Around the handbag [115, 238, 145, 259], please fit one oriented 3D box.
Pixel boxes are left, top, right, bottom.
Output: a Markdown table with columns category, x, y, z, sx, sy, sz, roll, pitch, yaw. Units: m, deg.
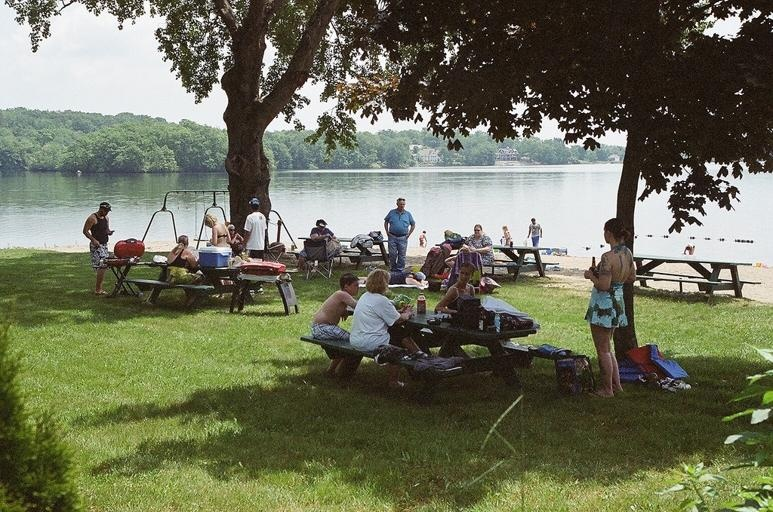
| category | x | y | z | sx | sy | sz | roll | pitch | yaw |
| --- | --- | --- | --- | --- | --- | --- | --- | --- | --- |
| handbag | -5.909 | -0.150 | 17.781 | 0.502 | 0.445 | 0.508 | 1 | -3 | 21 |

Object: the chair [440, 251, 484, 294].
| category | x | y | z | sx | sy | sz | roll | pitch | yaw |
| --- | --- | --- | --- | --- | --- | --- | --- | --- | --- |
| chair | 1.670 | 0.392 | 17.628 | 0.978 | 1.223 | 0.978 | 6 | 2 | 8 |

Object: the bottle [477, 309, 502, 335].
| category | x | y | z | sx | sy | sz | roll | pitch | yaw |
| --- | --- | --- | --- | --- | --- | --- | --- | --- | --- |
| bottle | 1.508 | 0.965 | 11.489 | 0.317 | 0.349 | 0.338 | -2 | 4 | -17 |

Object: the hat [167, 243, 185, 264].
| category | x | y | z | sx | sy | sz | roll | pitch | yaw |
| --- | --- | --- | --- | --- | --- | --- | --- | --- | --- |
| hat | -4.642 | -0.046 | 17.015 | 0.164 | 0.465 | 0.330 | 34 | -10 | -33 |

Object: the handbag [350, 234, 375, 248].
| category | x | y | z | sx | sy | sz | roll | pitch | yaw |
| --- | --- | --- | --- | --- | --- | --- | --- | --- | --- |
| handbag | -0.672 | -0.418 | 22.487 | 0.442 | 0.223 | 0.475 | 4 | 4 | 35 |

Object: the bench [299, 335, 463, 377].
| category | x | y | z | sx | sy | sz | roll | pitch | yaw |
| --- | --- | --- | --- | --- | --- | --- | --- | --- | --- |
| bench | 0.033 | 1.560 | 11.580 | 2.318 | 0.475 | 0.636 | 4 | 4 | 36 |

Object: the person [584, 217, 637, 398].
| category | x | y | z | sx | sy | sz | roll | pitch | yaw |
| --- | --- | --- | --- | --- | --- | --- | --- | --- | --- |
| person | 3.163 | 0.749 | 11.104 | 0.752 | 2.567 | 0.478 | -2 | 5 | -45 |

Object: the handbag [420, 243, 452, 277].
| category | x | y | z | sx | sy | sz | roll | pitch | yaw |
| --- | --- | --- | --- | --- | --- | --- | --- | --- | --- |
| handbag | 1.279 | 0.103 | 20.097 | 0.666 | 0.847 | 0.309 | 25 | -6 | 47 |

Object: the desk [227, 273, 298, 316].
| category | x | y | z | sx | sy | sz | roll | pitch | yaw |
| --- | --- | --- | --- | --- | --- | --- | --- | --- | --- |
| desk | -2.650 | 0.822 | 16.781 | 1.337 | 0.925 | 0.879 | -1 | 1 | 9 |
